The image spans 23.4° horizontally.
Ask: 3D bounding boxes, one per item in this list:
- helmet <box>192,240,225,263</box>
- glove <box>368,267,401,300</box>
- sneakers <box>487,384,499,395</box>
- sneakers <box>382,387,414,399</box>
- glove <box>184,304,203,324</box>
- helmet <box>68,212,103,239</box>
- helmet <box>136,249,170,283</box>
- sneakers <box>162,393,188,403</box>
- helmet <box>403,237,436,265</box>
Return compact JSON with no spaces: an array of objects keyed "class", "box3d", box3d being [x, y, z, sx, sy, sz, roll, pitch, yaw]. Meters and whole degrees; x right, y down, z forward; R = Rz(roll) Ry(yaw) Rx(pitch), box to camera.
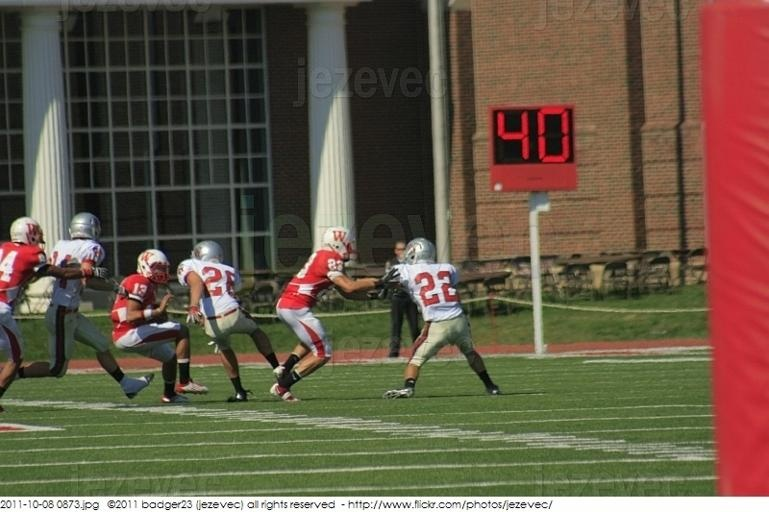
[{"class":"helmet","box3d":[-3.257,-0.089,35.155,0.553,0.435,0.426,13,10,38]},{"class":"glove","box3d":[0.061,0.522,34.722,0.423,0.669,0.338,26,33,-17]},{"class":"sneakers","box3d":[2.132,2.532,34.978,0.247,0.137,0.234,2,32,19]},{"class":"sneakers","box3d":[0.310,2.546,34.601,0.546,0.222,0.206,3,-8,9]},{"class":"glove","box3d":[-3.450,1.170,34.336,0.404,0.487,0.187,-1,11,-4]},{"class":"helmet","box3d":[-5.540,-0.596,34.841,0.476,0.533,0.567,5,14,14]},{"class":"helmet","box3d":[-4.379,0.195,35.132,0.712,0.548,0.504,2,0,24]},{"class":"sneakers","box3d":[-3.903,2.648,34.891,0.491,0.198,0.170,-3,1,-11]},{"class":"helmet","box3d":[0.741,-0.097,34.877,0.451,0.519,0.538,3,27,-25]}]
